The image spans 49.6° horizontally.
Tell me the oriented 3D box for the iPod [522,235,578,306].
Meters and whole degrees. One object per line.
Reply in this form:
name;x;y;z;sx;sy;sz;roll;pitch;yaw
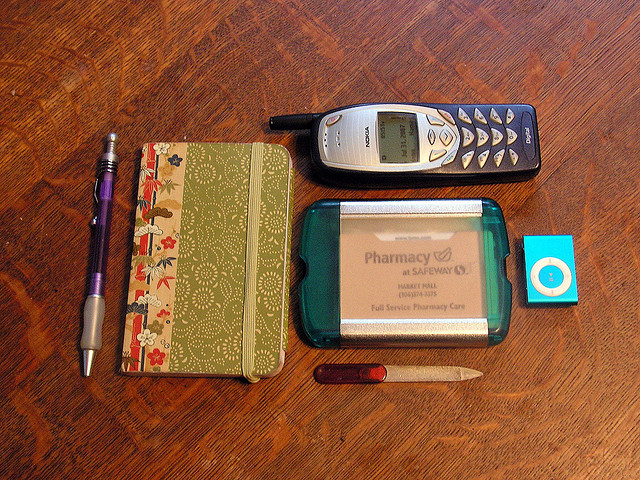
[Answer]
iPod;0.323;0.041;0.974;0.067;0.008;0.095;-3;82;1

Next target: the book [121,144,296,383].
book;-0.159;0.020;0.927;0.217;0.082;0.329;3;81;6
